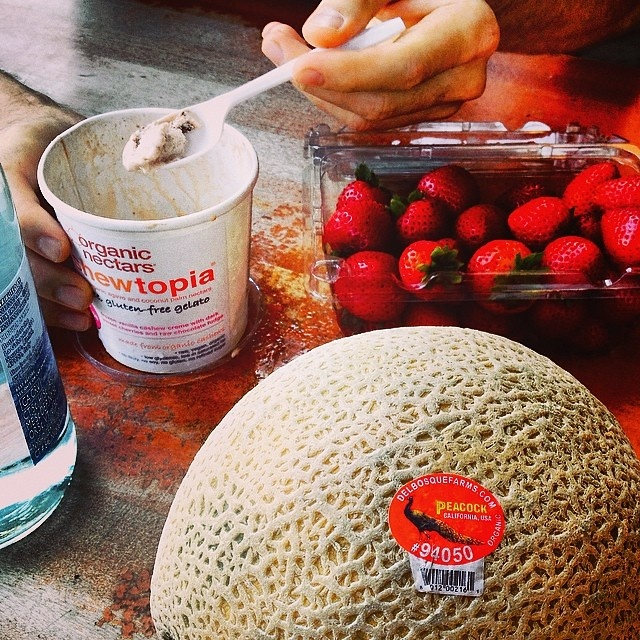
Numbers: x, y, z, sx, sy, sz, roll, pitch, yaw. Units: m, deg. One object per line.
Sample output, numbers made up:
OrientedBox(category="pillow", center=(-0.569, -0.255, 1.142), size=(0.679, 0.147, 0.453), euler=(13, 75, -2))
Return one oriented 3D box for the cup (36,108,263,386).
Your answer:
OrientedBox(category="cup", center=(-0.202, -0.082, 0.900), size=(0.273, 0.247, 0.241), euler=(-7, 42, -13))
